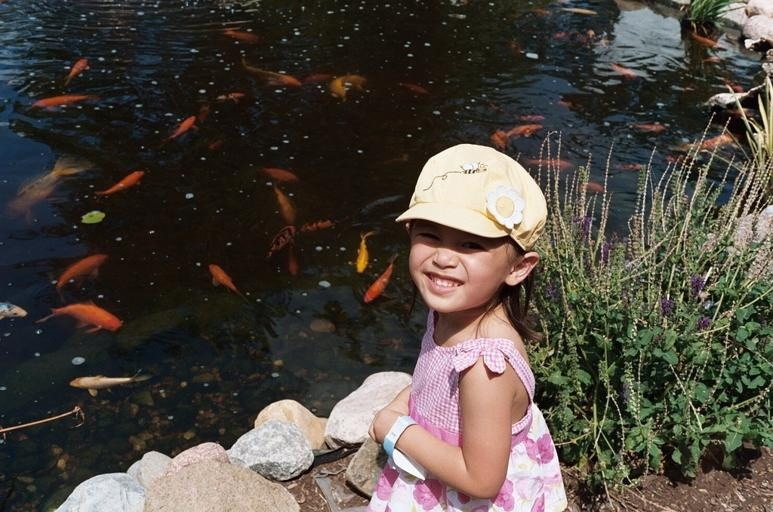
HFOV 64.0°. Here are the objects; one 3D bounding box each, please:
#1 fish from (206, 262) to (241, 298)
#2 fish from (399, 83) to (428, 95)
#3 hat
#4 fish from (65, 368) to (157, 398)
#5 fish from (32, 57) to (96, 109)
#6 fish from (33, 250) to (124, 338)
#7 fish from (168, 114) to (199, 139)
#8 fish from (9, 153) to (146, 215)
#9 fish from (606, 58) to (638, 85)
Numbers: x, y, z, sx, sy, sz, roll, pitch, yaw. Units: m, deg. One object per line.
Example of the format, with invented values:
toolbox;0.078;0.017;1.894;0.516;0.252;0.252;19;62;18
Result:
fish;-1.712;0.230;6.478;0.157;0.147;0.519;-43;61;-13
fish;0.398;-2.438;9.052;0.433;0.098;0.207;26;36;35
hat;0.546;-0.340;3.439;0.591;0.336;0.766;17;3;44
fish;-2.493;1.155;5.630;0.697;0.119;0.208;-3;40;-7
fish;-4.496;-2.381;8.662;0.483;0.279;1.083;21;47;31
fish;-2.998;0.436;6.017;0.836;0.311;0.697;-20;65;-5
fish;-2.602;-1.661;8.049;0.406;0.209;0.177;-44;12;-24
fish;-3.627;-0.809;7.260;1.153;0.259;0.470;-21;25;-32
fish;3.659;-2.873;9.767;0.598;0.203;0.259;33;75;26
